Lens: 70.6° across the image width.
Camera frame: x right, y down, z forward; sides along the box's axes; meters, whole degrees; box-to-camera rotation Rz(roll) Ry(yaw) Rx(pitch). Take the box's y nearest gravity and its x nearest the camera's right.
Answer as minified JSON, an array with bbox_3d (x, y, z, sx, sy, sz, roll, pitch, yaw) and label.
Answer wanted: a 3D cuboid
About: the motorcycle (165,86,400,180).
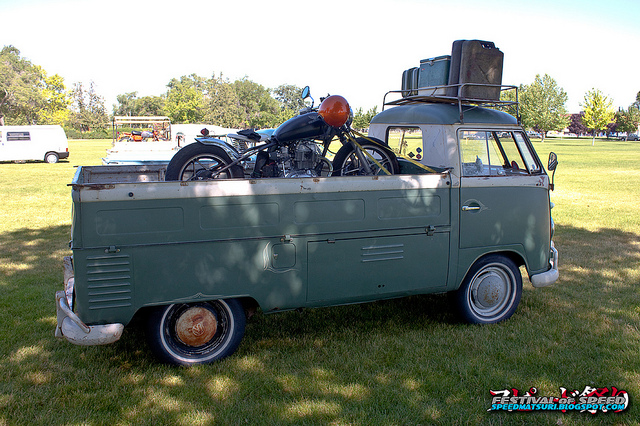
[{"bbox_3d":[-0.653,-1.133,7.628,3.777,2.060,1.660,-3,5,-8],"label":"motorcycle"}]
